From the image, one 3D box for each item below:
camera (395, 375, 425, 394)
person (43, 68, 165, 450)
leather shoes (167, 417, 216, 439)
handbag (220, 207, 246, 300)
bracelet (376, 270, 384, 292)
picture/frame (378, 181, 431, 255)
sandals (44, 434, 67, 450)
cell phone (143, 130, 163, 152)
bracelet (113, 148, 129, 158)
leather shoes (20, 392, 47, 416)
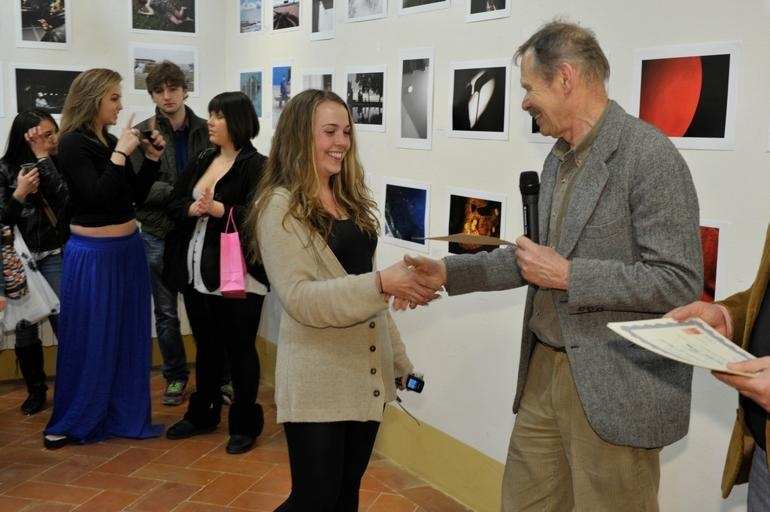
[{"bbox_3d":[0.128,0.637,2.844,0.131,0.082,0.034,6,4,16],"label":"camera"},{"bbox_3d":[-2.182,0.020,4.382,0.891,2.905,0.474,-3,11,-21],"label":"person"},{"bbox_3d":[-1.564,1.384,4.680,0.422,0.188,0.153,4,-1,-33],"label":"leather shoes"},{"bbox_3d":[-1.076,-0.021,4.008,0.185,0.658,0.240,-2,11,-15],"label":"handbag"},{"bbox_3d":[-0.020,0.101,2.307,0.027,0.086,0.034,-2,11,-15],"label":"bracelet"},{"bbox_3d":[0.152,-0.285,3.995,0.020,0.485,0.455,-2,7,-38],"label":"picture/frame"},{"bbox_3d":[-2.550,1.440,4.378,0.087,0.054,0.148,2,4,3],"label":"sandals"},{"bbox_3d":[-1.740,-0.881,4.242,0.066,0.076,0.260,16,-8,-5],"label":"cell phone"},{"bbox_3d":[-1.953,-0.770,4.210,0.110,0.065,0.100,-10,16,-42],"label":"bracelet"},{"bbox_3d":[-3.089,1.293,4.966,0.105,0.117,0.273,3,-2,-6],"label":"leather shoes"}]
